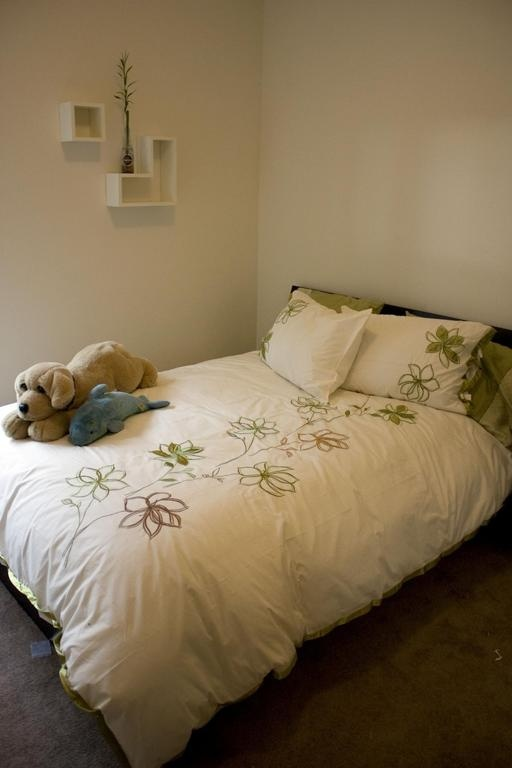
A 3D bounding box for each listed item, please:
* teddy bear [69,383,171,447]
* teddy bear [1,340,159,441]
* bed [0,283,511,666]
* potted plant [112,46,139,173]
[{"bbox_3d":[-0.492,0.075,2.007,0.144,0.165,0.424,-1,20,27],"label":"teddy bear"},{"bbox_3d":[-0.638,0.030,2.056,0.297,0.184,0.455,9,28,25],"label":"teddy bear"},{"bbox_3d":[-0.041,0.165,2.341,1.948,0.840,1.739,-9,18,-22],"label":"bed"},{"bbox_3d":[-0.612,-1.256,2.677,0.083,0.518,0.129,-1,17,2],"label":"potted plant"}]
